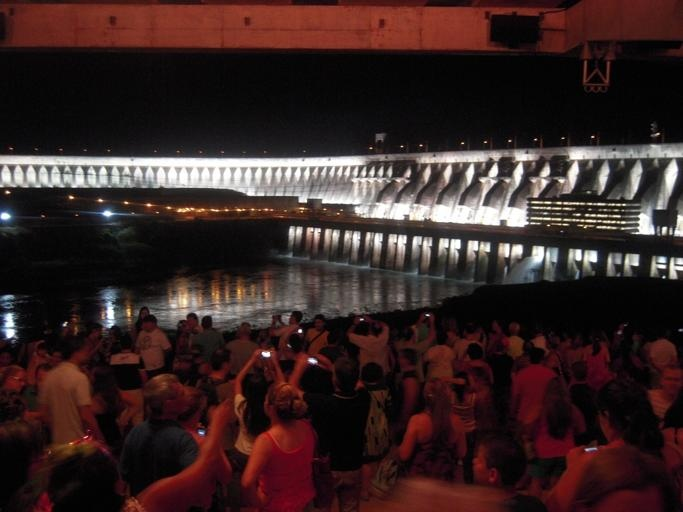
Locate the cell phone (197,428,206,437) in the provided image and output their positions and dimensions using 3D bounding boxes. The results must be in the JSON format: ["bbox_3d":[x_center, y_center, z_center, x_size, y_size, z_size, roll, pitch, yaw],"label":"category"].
[{"bbox_3d":[-1.371,1.750,5.866,0.071,0.064,0.115,6,-13,-8],"label":"cell phone"}]
